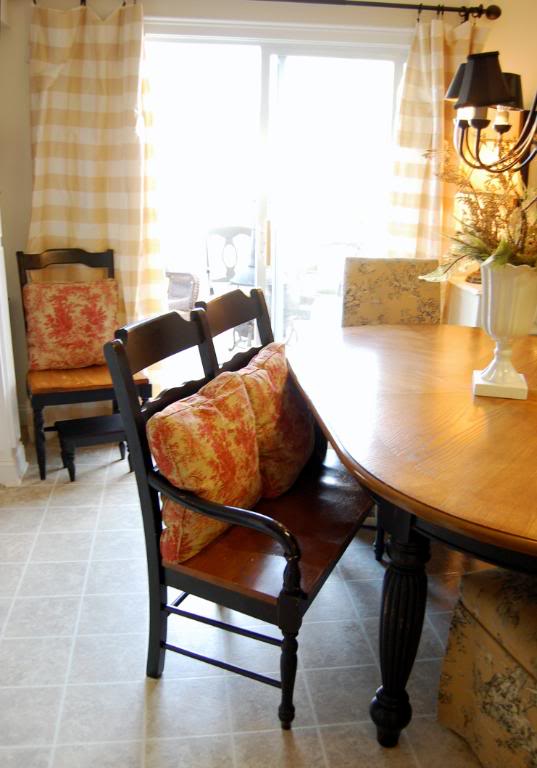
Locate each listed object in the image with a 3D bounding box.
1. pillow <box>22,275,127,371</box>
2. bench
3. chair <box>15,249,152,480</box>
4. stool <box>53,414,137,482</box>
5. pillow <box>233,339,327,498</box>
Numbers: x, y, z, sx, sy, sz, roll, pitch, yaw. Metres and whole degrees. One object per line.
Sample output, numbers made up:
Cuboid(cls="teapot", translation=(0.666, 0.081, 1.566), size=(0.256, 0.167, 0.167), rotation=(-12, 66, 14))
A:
Cuboid(cls="pillow", translation=(-0.845, -0.264, 2.672), size=(0.457, 0.474, 0.174), rotation=(-7, 7, -18))
Cuboid(cls="bench", translation=(0.012, 0.262, 1.573), size=(0.476, 0.886, 0.686), rotation=(11, 25, 23))
Cuboid(cls="chair", translation=(-0.843, -0.101, 2.823), size=(0.507, 0.899, 0.455), rotation=(-5, 19, -17))
Cuboid(cls="stool", translation=(-0.769, 0.271, 2.762), size=(0.370, 0.271, 0.280), rotation=(-11, 34, -23))
Cuboid(cls="pillow", translation=(0.014, 0.098, 1.731), size=(0.202, 0.350, 0.394), rotation=(11, 25, 11))
